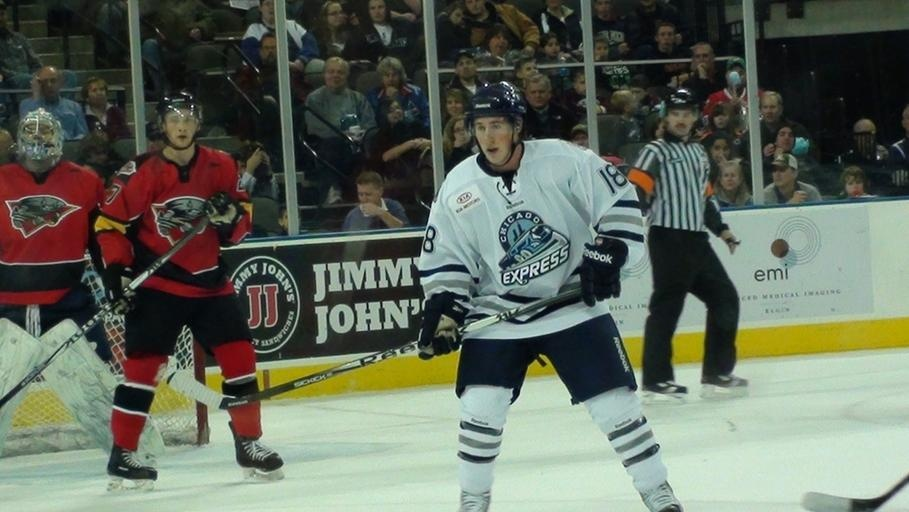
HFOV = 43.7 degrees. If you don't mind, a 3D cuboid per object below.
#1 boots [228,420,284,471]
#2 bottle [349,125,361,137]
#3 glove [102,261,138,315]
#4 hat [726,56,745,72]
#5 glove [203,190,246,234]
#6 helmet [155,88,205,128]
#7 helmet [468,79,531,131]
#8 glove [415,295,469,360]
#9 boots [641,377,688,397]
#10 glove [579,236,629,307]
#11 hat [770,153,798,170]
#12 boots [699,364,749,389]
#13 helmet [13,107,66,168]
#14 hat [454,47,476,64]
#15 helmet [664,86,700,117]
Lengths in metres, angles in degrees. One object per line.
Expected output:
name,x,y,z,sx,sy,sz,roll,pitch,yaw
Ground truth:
boots,-1.404,1.363,7.938,0.374,0.260,0.135,8,18,39
bottle,-0.856,-1.079,9.657,0.097,0.135,0.015,-1,8,-7
glove,-2.305,0.221,7.788,0.210,0.360,0.083,-21,1,-13
hat,2.486,-1.732,10.075,0.160,0.106,0.220,2,8,20
glove,-1.596,-0.316,7.790,0.217,0.286,0.102,-30,21,-4
helmet,-1.932,-1.046,7.867,0.261,0.210,0.222,-26,-13,31
helmet,0.239,-0.874,7.066,0.361,0.394,0.430,-5,13,3
glove,-0.079,0.444,6.959,0.361,0.352,0.146,-14,29,-40
boots,1.688,1.051,9.139,0.393,0.155,0.132,2,-3,9
glove,0.908,0.085,6.895,0.304,0.414,0.139,-2,6,-6
hat,2.938,-0.854,10.148,0.192,0.099,0.131,21,2,-5
boots,2.182,0.984,9.178,0.331,0.318,0.163,-10,-7,15
helmet,-2.897,-0.820,8.019,0.307,0.415,0.417,1,-4,-5
hat,0.076,-1.751,9.811,0.157,0.143,0.040,-2,1,-2
helmet,1.872,-1.292,9.357,0.261,0.306,0.339,0,-13,-4
